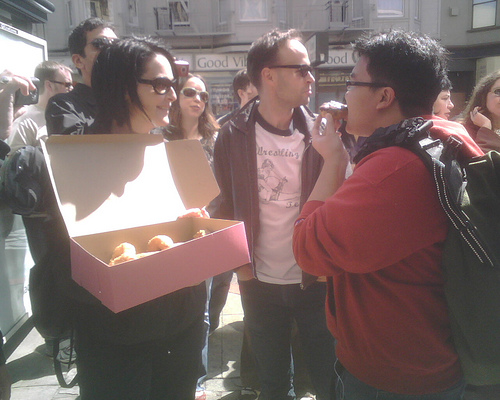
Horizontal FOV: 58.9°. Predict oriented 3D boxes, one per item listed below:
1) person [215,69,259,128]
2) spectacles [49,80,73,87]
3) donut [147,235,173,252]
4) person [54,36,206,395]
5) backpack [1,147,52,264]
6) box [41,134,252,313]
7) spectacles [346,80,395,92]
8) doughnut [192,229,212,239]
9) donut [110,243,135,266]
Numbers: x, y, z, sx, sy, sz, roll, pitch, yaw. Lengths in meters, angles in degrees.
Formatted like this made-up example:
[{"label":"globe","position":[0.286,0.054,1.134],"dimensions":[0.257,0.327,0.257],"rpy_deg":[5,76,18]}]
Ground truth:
[{"label":"person","position":[-0.121,-1.158,5.027],"dimensions":[0.348,0.683,0.801],"rpy_deg":[6,33,7]},{"label":"spectacles","position":[-2.077,-1.290,4.850],"dimensions":[0.117,0.039,0.113],"rpy_deg":[2,6,-36]},{"label":"donut","position":[-0.460,0.223,2.266],"dimensions":[0.138,0.079,0.107],"rpy_deg":[-1,10,2]},{"label":"person","position":[-0.628,0.060,2.382],"dimensions":[0.679,1.887,0.669],"rpy_deg":[-5,10,-25]},{"label":"backpack","position":[-1.063,-0.013,2.252],"dimensions":[0.272,0.575,0.260],"rpy_deg":[-11,19,-32]},{"label":"box","position":[-0.499,0.027,2.237],"dimensions":[0.892,0.729,0.656],"rpy_deg":[-8,11,-34]},{"label":"spectacles","position":[0.569,-0.562,2.159],"dimensions":[0.089,0.073,0.280],"rpy_deg":[-7,11,-31]},{"label":"doughnut","position":[-0.259,0.176,2.372],"dimensions":[0.061,0.026,0.056],"rpy_deg":[-15,10,35]},{"label":"donut","position":[-0.605,0.252,2.115],"dimensions":[0.110,0.065,0.188],"rpy_deg":[-4,10,-17]}]
